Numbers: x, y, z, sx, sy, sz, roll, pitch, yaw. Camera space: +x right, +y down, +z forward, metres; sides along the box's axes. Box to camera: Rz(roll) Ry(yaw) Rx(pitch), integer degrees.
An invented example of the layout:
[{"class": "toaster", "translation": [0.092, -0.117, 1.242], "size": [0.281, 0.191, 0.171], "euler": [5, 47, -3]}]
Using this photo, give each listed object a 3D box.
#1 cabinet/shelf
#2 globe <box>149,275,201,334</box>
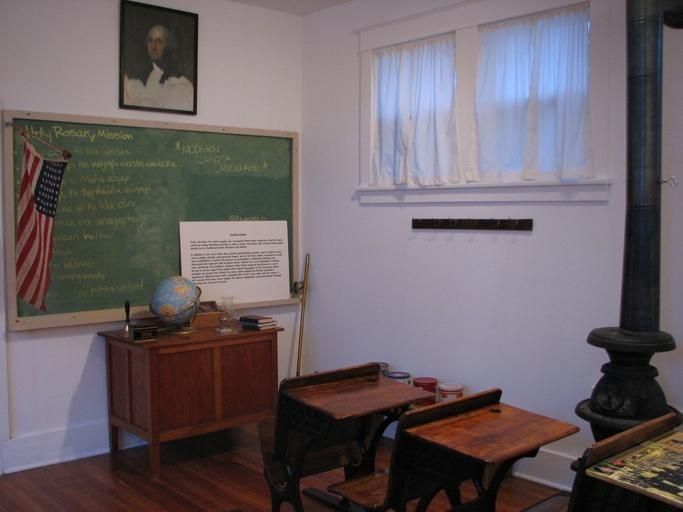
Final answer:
[{"class": "cabinet/shelf", "translation": [-1.190, 1.067, 4.693], "size": [0.750, 0.944, 1.200], "euler": [2, 0, 45]}, {"class": "globe", "translation": [-1.261, 0.355, 4.450], "size": [0.388, 0.411, 0.400], "euler": [2, 10, -14]}]
